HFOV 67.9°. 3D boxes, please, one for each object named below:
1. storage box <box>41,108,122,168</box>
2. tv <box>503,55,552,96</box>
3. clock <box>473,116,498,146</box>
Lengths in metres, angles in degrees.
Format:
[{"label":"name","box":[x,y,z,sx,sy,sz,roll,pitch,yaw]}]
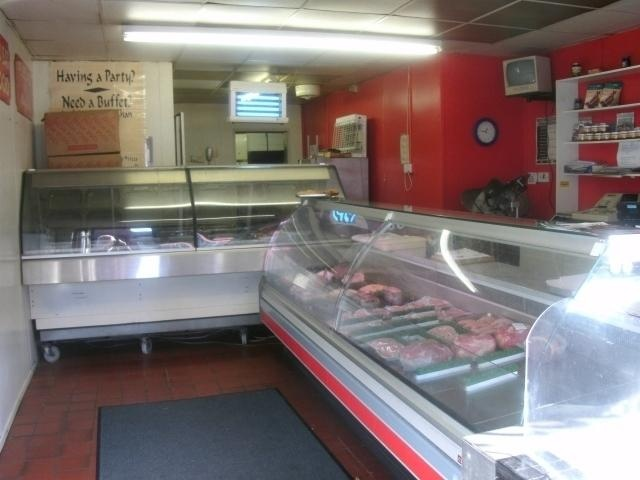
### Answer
[{"label":"storage box","box":[-2.176,-0.931,4.177,0.622,0.552,0.148,0,3,-2]},{"label":"tv","box":[2.362,-1.864,5.393,0.305,0.422,0.504,-4,6,-37]},{"label":"clock","box":[1.992,-1.340,5.787,0.381,0.364,0.039,-1,1,-22]}]
